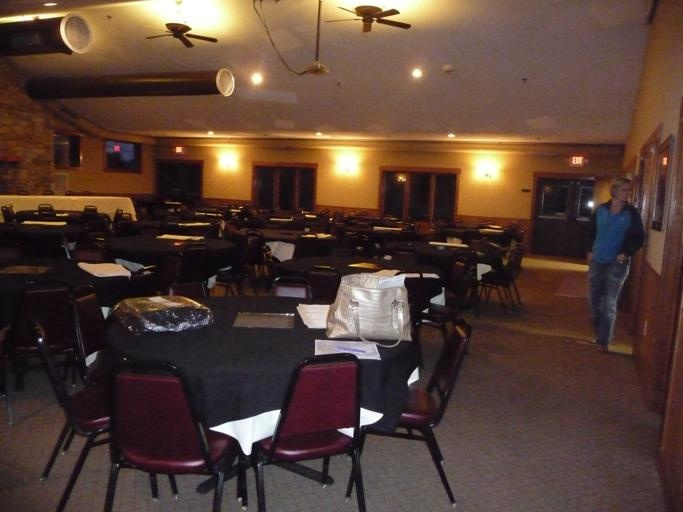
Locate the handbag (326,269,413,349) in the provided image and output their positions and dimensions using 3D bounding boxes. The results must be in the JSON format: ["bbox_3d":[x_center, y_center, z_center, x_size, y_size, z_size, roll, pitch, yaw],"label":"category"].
[{"bbox_3d":[0.192,0.325,2.997,0.524,0.352,0.347,3,4,-6],"label":"handbag"}]

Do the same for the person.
[{"bbox_3d":[2.727,0.095,5.212,0.336,1.755,0.524,-3,14,-23],"label":"person"}]
